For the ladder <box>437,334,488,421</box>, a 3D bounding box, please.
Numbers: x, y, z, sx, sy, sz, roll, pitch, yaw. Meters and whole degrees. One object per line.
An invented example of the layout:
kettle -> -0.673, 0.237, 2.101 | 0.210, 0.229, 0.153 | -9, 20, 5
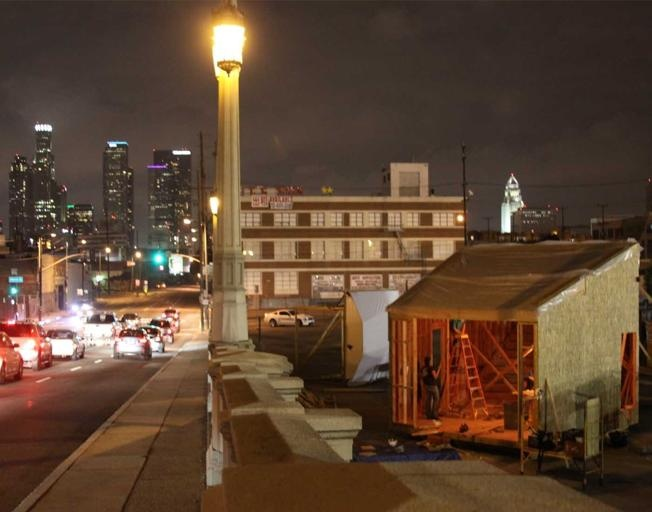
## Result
ladder -> 3.823, 3.213, 25.667 | 1.268, 2.302, 2.197 | -1, -4, 8
